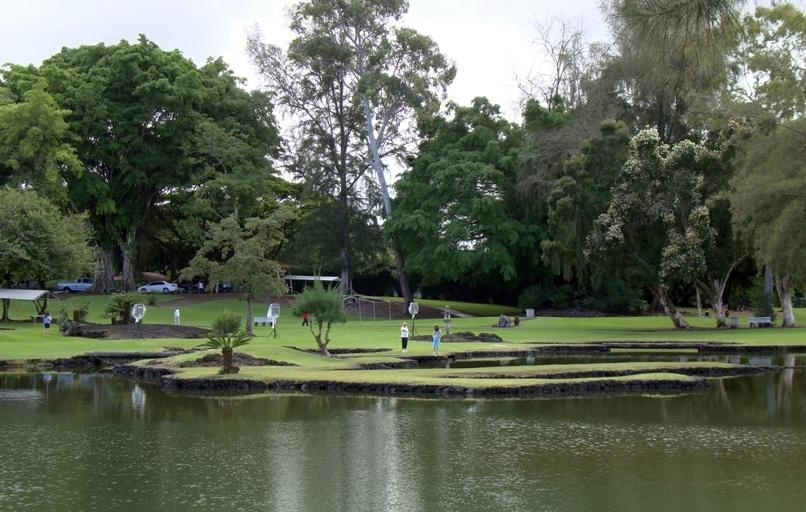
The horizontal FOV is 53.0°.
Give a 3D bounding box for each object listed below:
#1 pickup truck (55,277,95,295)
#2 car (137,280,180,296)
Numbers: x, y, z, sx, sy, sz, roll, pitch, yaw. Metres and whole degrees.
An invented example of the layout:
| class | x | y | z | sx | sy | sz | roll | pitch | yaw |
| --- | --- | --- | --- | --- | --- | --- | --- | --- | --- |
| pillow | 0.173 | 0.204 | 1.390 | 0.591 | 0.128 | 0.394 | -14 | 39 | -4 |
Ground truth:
| class | x | y | z | sx | sy | sz | roll | pitch | yaw |
| --- | --- | --- | --- | --- | --- | --- | --- | --- | --- |
| pickup truck | -33.781 | 3.044 | 83.632 | 3.148 | 1.373 | 1.627 | -3 | 0 | -6 |
| car | -26.264 | 3.336 | 87.373 | 3.777 | 1.260 | 1.738 | 3 | -3 | -9 |
